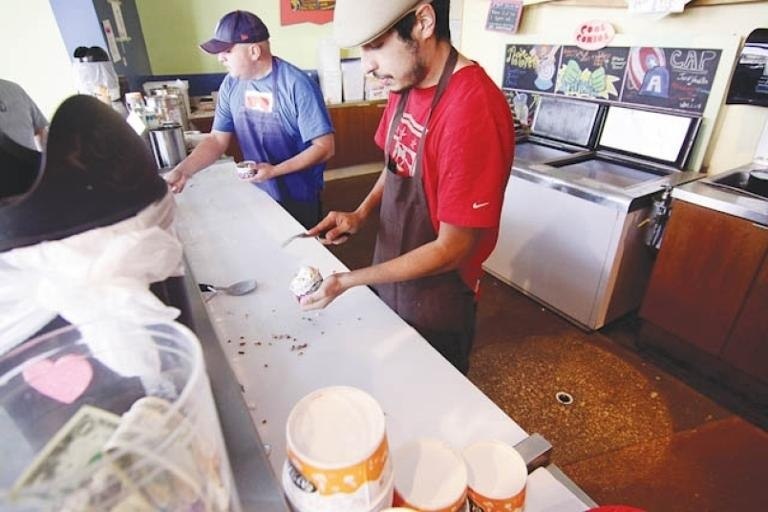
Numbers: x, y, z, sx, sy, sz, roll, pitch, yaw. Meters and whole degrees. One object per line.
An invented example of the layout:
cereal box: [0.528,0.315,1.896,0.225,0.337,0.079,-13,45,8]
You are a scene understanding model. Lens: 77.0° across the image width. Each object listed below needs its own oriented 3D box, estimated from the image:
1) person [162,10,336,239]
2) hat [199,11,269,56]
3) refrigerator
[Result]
person: [-0.800,-0.526,2.975,0.921,1.716,0.635,-14,33,-21]
hat: [-0.796,-1.220,2.623,0.345,0.182,0.227,-16,49,-22]
refrigerator: [1.377,-0.185,3.223,0.664,0.893,0.891,-16,31,-19]
